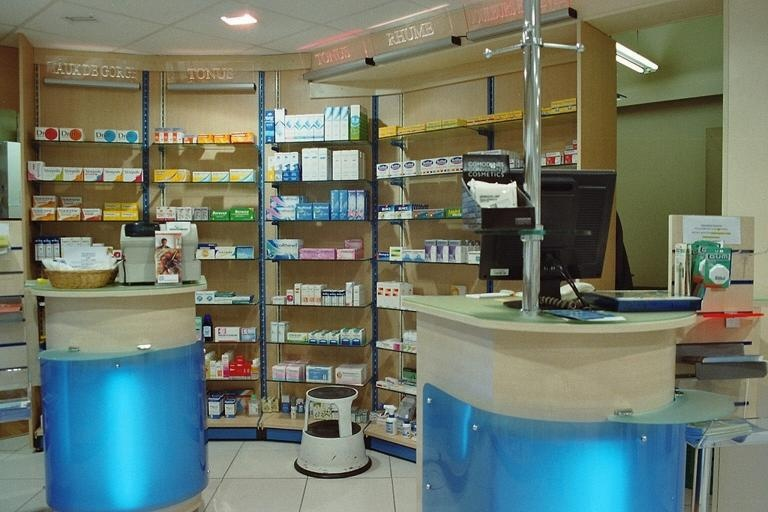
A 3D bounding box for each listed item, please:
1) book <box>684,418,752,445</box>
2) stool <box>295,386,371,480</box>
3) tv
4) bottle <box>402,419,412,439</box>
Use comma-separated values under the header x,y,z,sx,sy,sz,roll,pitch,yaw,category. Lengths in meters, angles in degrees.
x,y,z,sx,sy,sz,roll,pitch,yaw,category
1.970,1.010,4.250,0.277,0.082,0.205,-4,-3,-8,book
-0.510,1.535,6.412,0.715,0.605,0.700,-1,3,-22,stool
1.016,-0.121,4.475,0.929,0.905,0.343,0,6,-8,tv
0.209,1.575,6.481,0.109,0.163,0.117,-1,2,0,bottle
